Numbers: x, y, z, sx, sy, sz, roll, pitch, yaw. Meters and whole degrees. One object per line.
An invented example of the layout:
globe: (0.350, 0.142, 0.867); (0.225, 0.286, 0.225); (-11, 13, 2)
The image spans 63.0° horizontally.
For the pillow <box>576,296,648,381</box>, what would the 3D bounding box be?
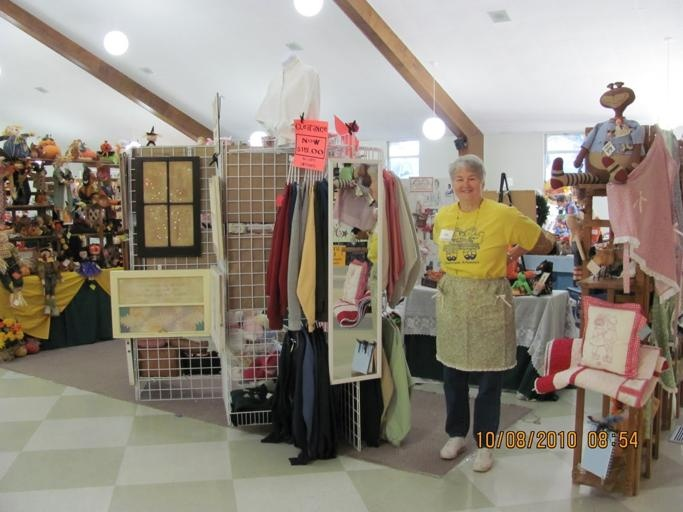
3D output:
pillow: (1.728, 0.543, 3.543); (0.453, 0.500, 0.167); (2, -13, 42)

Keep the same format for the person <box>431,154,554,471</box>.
person: (1.003, 0.388, 3.901); (0.704, 2.148, 0.488); (1, 9, 9)

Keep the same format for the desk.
desk: (1.468, 0.724, 5.096); (1.151, 0.626, 1.167); (2, 1, 27)

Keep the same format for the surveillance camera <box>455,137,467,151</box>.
surveillance camera: (2.298, -2.144, 10.752); (0.254, 0.262, 0.303); (-2, 10, -10)

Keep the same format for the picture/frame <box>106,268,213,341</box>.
picture/frame: (-1.375, 0.363, 4.267); (0.633, 0.471, 0.045); (0, 3, -4)

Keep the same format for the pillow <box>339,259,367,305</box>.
pillow: (0.089, 0.185, 3.926); (0.179, 0.316, 0.080); (12, -17, 35)

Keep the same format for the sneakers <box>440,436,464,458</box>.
sneakers: (0.809, 1.379, 4.046); (0.192, 0.124, 0.101); (-14, 13, -34)

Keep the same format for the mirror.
mirror: (0.101, 0.075, 3.904); (0.414, 1.565, 0.025); (1, -4, -27)

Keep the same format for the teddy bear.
teddy bear: (1.823, -0.853, 3.848); (0.600, 0.758, 0.521); (-4, 6, -39)
